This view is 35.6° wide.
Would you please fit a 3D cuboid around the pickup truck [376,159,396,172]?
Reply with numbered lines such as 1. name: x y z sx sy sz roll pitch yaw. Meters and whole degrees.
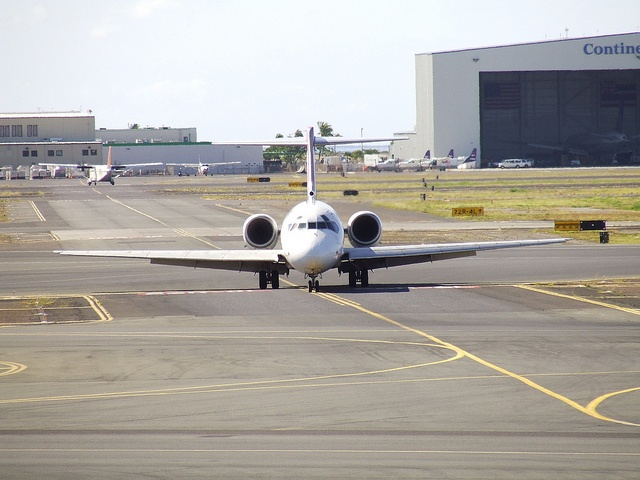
1. pickup truck: 11.980 -13.205 176.003 3.432 1.275 1.945 -1 8 13

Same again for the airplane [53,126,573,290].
1. airplane: -0.266 -0.829 34.506 12.484 5.426 4.749 -3 10 -9

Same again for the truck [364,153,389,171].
1. truck: 10.308 -15.535 193.425 5.964 2.637 3.249 0 1 -13
